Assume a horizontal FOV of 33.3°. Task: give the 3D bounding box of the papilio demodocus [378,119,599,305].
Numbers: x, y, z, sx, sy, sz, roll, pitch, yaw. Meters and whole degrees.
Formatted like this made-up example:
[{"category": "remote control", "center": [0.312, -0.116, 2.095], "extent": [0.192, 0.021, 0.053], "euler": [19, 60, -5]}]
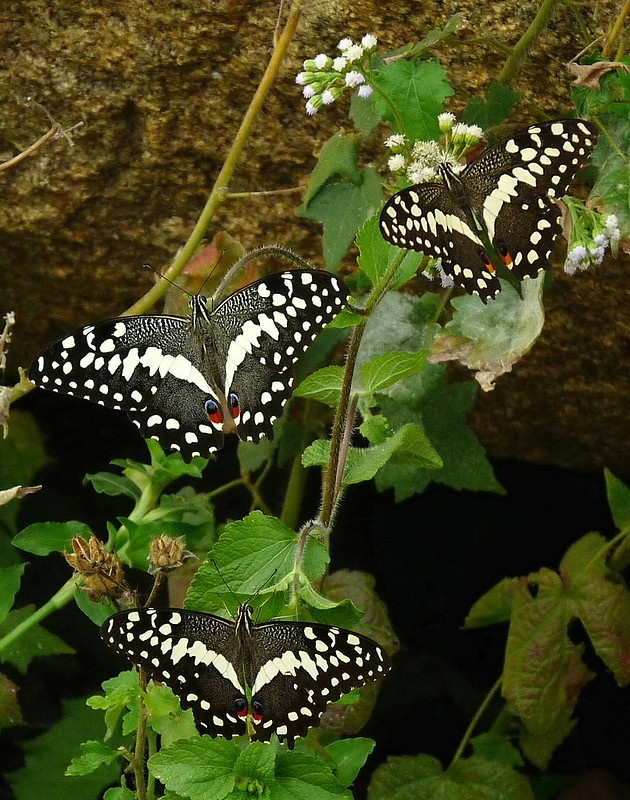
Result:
[{"category": "papilio demodocus", "center": [0.196, -0.223, 1.234], "extent": [0.239, 0.207, 0.108], "euler": [-2, 30, 2]}]
